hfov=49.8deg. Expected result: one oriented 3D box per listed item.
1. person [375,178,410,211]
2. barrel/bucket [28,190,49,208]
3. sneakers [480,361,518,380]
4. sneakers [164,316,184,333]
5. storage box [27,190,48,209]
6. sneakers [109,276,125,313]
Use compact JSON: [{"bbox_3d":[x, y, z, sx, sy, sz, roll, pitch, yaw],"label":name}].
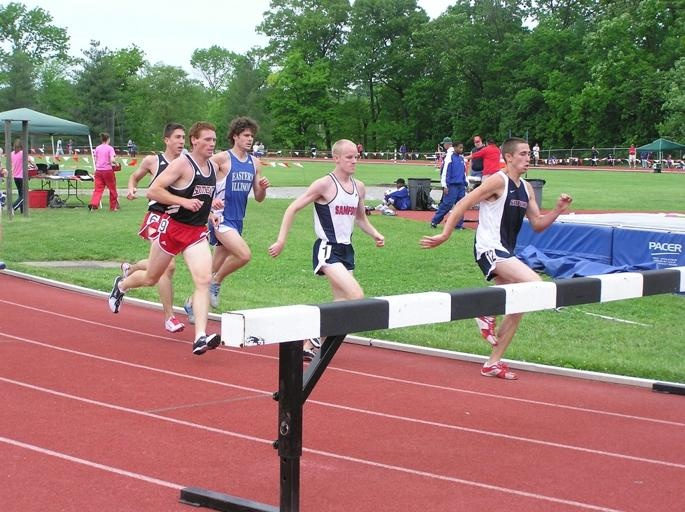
[{"bbox_3d":[1.528,-1.765,21.639,1.098,0.953,0.766,1,5,-2],"label":"person"},{"bbox_3d":[-8.767,-1.650,21.158,0.595,0.424,0.587,0,0,0],"label":"barrel/bucket"},{"bbox_3d":[1.517,1.106,7.182,0.310,0.130,0.155,3,1,4],"label":"sneakers"},{"bbox_3d":[-1.913,0.772,8.339,0.119,0.126,0.288,-2,-3,-33],"label":"sneakers"},{"bbox_3d":[-8.776,-1.654,21.192,0.619,0.447,0.619,-1,1,-8],"label":"storage box"},{"bbox_3d":[-2.591,0.472,8.494,0.208,0.480,0.165,-3,-10,36],"label":"sneakers"}]
